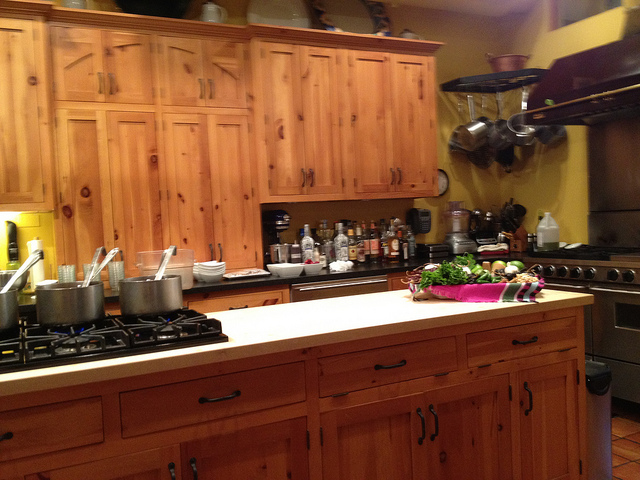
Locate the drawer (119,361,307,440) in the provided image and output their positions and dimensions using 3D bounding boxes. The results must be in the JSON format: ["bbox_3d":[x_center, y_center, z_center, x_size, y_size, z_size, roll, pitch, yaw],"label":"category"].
[{"bbox_3d":[-0.383,0.596,1.932,0.690,0.204,0.057,-1,17,-20],"label":"drawer"}]

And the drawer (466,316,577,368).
[{"bbox_3d":[0.911,0.469,2.379,0.411,0.121,0.249,-2,-2,-23],"label":"drawer"}]

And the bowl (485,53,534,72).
[{"bbox_3d":[1.680,-1.587,4.589,0.367,0.189,0.256,-7,18,-40],"label":"bowl"}]

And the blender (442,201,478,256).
[{"bbox_3d":[1.276,-0.126,4.790,0.353,0.423,0.342,-11,10,-42],"label":"blender"}]

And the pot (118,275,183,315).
[{"bbox_3d":[-0.703,0.197,2.134,0.296,0.147,0.237,0,8,-28],"label":"pot"}]

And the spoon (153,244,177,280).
[{"bbox_3d":[-0.646,0.086,2.152,0.067,0.146,0.195,2,14,-12],"label":"spoon"}]

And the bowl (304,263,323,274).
[{"bbox_3d":[-0.052,0.203,3.896,0.111,0.079,0.195,7,13,10],"label":"bowl"}]

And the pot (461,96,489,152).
[{"bbox_3d":[1.389,-1.060,4.707,0.283,0.450,0.163,-6,2,38],"label":"pot"}]

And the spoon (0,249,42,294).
[{"bbox_3d":[-1.140,0.117,1.951,0.152,0.147,0.048,-9,21,-43],"label":"spoon"}]

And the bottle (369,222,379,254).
[{"bbox_3d":[0.479,-0.033,4.488,0.100,0.254,0.274,7,14,5],"label":"bottle"}]

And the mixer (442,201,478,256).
[{"bbox_3d":[1.278,-0.122,4.793,0.385,0.417,0.344,-7,5,15],"label":"mixer"}]

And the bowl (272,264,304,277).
[{"bbox_3d":[-0.229,0.216,3.801,0.157,0.093,0.165,4,14,-1],"label":"bowl"}]

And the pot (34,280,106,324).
[{"bbox_3d":[-0.987,0.230,2.008,0.209,0.104,0.190,0,4,0],"label":"pot"}]

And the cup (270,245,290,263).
[{"bbox_3d":[-0.312,0.104,4.076,0.158,0.121,0.145,0,5,0],"label":"cup"}]

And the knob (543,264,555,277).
[{"bbox_3d":[1.810,0.240,4.059,0.073,0.070,0.093,1,8,19],"label":"knob"}]

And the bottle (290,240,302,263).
[{"bbox_3d":[-0.199,0.092,4.129,0.101,0.158,0.127,-3,17,-28],"label":"bottle"}]

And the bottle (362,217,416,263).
[{"bbox_3d":[0.621,0.015,4.461,0.481,0.358,0.103,0,-3,-26],"label":"bottle"}]

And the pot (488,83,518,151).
[{"bbox_3d":[1.671,-1.088,4.594,0.220,0.565,0.244,0,9,-20],"label":"pot"}]

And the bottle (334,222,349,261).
[{"bbox_3d":[0.181,0.007,4.297,0.122,0.293,0.176,5,15,-1],"label":"bottle"}]

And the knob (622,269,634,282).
[{"bbox_3d":[2.131,0.243,3.551,0.092,0.091,0.035,5,1,25],"label":"knob"}]
